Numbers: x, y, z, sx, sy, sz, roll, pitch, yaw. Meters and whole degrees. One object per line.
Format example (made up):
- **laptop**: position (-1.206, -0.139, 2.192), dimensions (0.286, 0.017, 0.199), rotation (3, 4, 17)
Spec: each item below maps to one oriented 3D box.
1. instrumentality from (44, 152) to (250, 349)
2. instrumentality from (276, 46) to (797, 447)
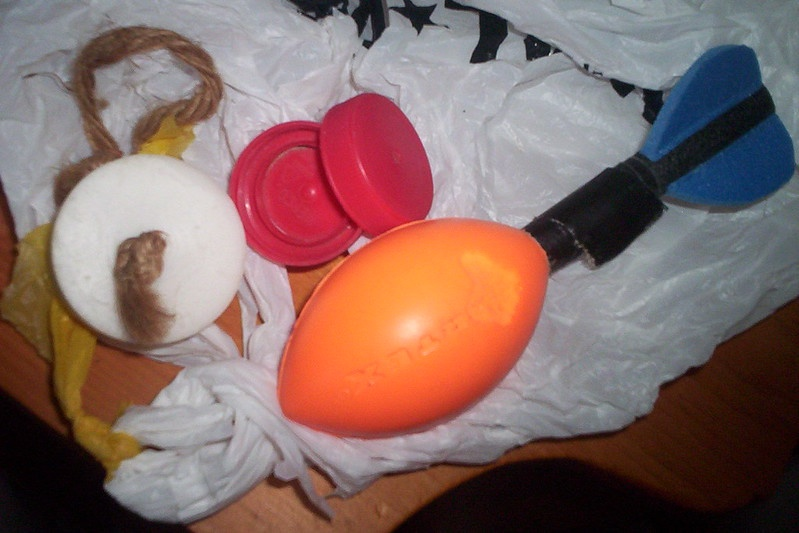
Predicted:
- **instrumentality**: position (-0.417, -0.028, 1.208), dimensions (0.307, 0.175, 0.260), rotation (8, 55, -7)
- **instrumentality**: position (0.431, -0.031, 1.443), dimensions (1.320, 0.385, 0.420), rotation (-27, 95, -8)
